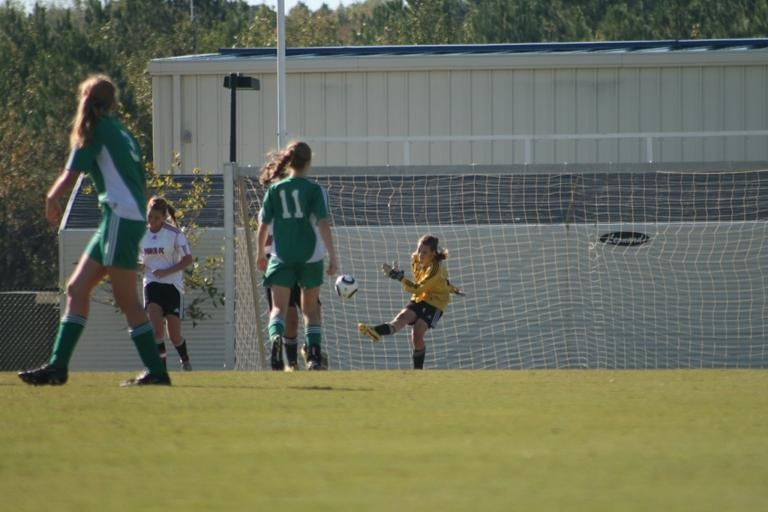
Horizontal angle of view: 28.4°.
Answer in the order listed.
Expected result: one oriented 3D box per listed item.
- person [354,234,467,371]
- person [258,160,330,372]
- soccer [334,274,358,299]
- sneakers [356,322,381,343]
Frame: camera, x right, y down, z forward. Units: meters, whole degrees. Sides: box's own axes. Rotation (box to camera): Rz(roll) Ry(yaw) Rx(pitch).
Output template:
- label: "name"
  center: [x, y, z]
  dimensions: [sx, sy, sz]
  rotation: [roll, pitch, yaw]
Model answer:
- label: "person"
  center: [0.617, 0.818, 25.956]
  dimensions: [1.483, 2.260, 0.512]
  rotation: [-3, 4, 2]
- label: "person"
  center: [-1.388, 0.033, 24.092]
  dimensions: [1.211, 3.614, 0.784]
  rotation: [-3, 4, -6]
- label: "soccer"
  center: [-0.639, 0.542, 25.541]
  dimensions: [0.370, 0.378, 0.376]
  rotation: [3, 3, 10]
- label: "sneakers"
  center: [-0.242, 1.370, 25.766]
  dimensions: [0.184, 0.508, 0.229]
  rotation: [-45, 17, 14]
